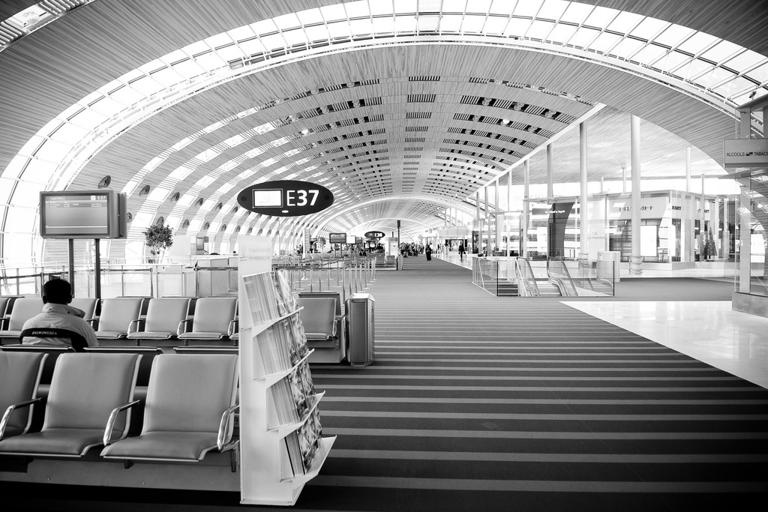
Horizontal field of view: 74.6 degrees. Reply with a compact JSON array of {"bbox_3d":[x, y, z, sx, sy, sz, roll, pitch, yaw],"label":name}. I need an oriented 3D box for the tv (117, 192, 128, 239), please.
[{"bbox_3d":[-5.157,-0.796,9.900,0.187,0.863,0.304,-3,8,-31],"label":"tv"}]

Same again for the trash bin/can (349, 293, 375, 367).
[{"bbox_3d":[-0.402,1.306,8.966,0.465,1.183,0.572,1,7,-4],"label":"trash bin/can"}]

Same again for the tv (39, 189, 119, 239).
[{"bbox_3d":[-5.929,-0.801,10.004,1.394,0.902,0.796,0,5,-2],"label":"tv"}]

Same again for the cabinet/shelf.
[{"bbox_3d":[-1.058,1.520,5.487,0.974,2.542,2.293,-1,-1,0],"label":"cabinet/shelf"}]

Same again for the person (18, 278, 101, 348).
[{"bbox_3d":[-4.091,0.746,6.405,0.941,0.783,0.503,7,8,-8],"label":"person"}]

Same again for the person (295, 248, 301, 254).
[{"bbox_3d":[-10.329,-0.586,60.759,0.948,0.989,0.916,-3,6,-7],"label":"person"}]
